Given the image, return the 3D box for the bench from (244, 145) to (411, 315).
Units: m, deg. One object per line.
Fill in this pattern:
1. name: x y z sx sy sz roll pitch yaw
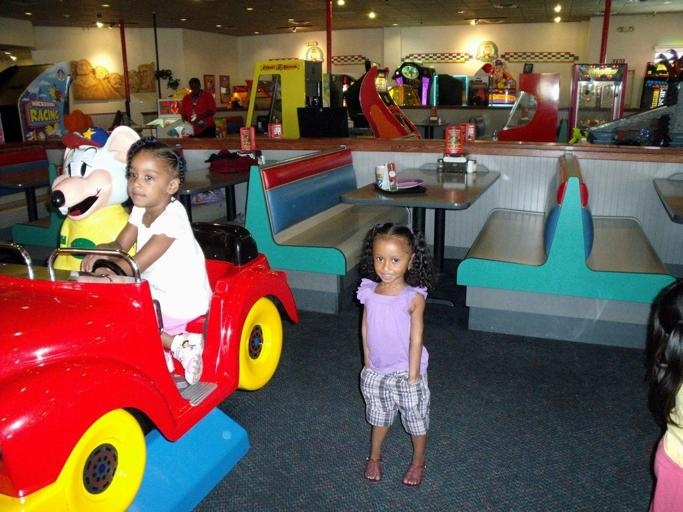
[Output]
1. bench: 0.009 -0.352 4.071 0.794 1.006 1.779 7 22 21

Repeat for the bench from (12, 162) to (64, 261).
1. bench: -2.852 -0.379 4.266 0.398 0.588 0.386 -5 32 -46

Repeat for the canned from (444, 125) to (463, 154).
1. canned: 1.051 -1.053 4.140 0.187 0.260 0.183 -2 19 -2

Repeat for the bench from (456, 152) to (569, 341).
1. bench: 1.303 -0.093 3.373 0.725 0.911 1.320 6 24 19

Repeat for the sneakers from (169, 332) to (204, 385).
1. sneakers: -0.677 0.448 2.072 0.133 0.226 0.100 -24 3 21

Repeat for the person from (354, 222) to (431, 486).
1. person: 0.217 0.398 1.881 0.312 1.064 0.362 2 20 10
